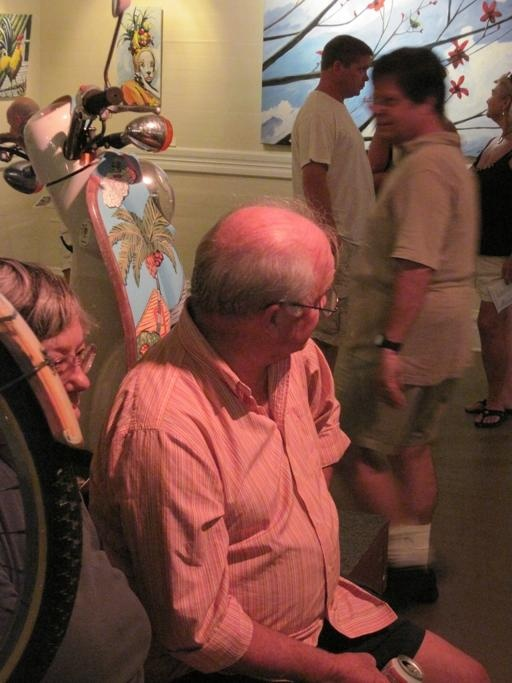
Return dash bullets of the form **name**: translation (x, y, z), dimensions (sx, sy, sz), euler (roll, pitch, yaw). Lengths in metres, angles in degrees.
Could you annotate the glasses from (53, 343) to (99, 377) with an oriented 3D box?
- **glasses**: translation (-0.316, 0.032, 1.114), dimensions (0.100, 0.038, 0.092), euler (2, 15, 14)
